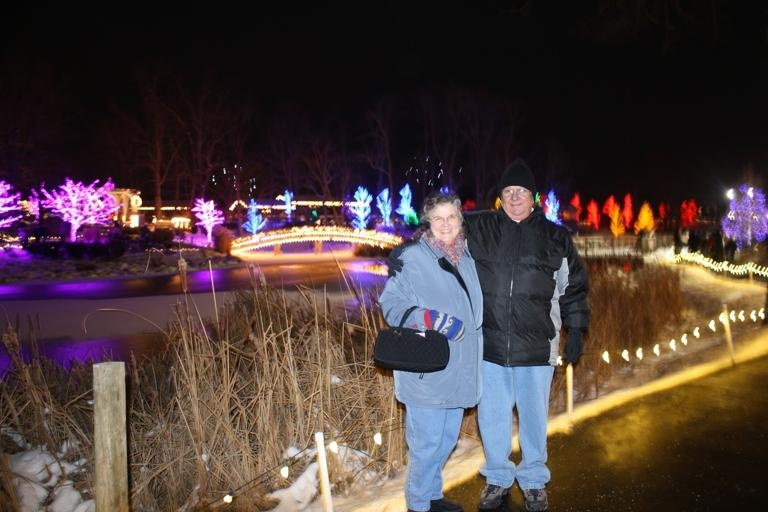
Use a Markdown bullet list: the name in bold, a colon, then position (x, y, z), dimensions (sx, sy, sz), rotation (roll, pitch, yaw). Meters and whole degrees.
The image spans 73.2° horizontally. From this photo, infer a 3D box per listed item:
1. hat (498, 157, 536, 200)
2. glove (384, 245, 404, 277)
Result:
- **hat**: position (1.365, -0.777, 5.337), dimensions (0.293, 0.382, 0.400), rotation (1, -15, 7)
- **glove**: position (0.105, 0.061, 4.809), dimensions (0.085, 0.249, 0.184), rotation (16, 14, 5)
